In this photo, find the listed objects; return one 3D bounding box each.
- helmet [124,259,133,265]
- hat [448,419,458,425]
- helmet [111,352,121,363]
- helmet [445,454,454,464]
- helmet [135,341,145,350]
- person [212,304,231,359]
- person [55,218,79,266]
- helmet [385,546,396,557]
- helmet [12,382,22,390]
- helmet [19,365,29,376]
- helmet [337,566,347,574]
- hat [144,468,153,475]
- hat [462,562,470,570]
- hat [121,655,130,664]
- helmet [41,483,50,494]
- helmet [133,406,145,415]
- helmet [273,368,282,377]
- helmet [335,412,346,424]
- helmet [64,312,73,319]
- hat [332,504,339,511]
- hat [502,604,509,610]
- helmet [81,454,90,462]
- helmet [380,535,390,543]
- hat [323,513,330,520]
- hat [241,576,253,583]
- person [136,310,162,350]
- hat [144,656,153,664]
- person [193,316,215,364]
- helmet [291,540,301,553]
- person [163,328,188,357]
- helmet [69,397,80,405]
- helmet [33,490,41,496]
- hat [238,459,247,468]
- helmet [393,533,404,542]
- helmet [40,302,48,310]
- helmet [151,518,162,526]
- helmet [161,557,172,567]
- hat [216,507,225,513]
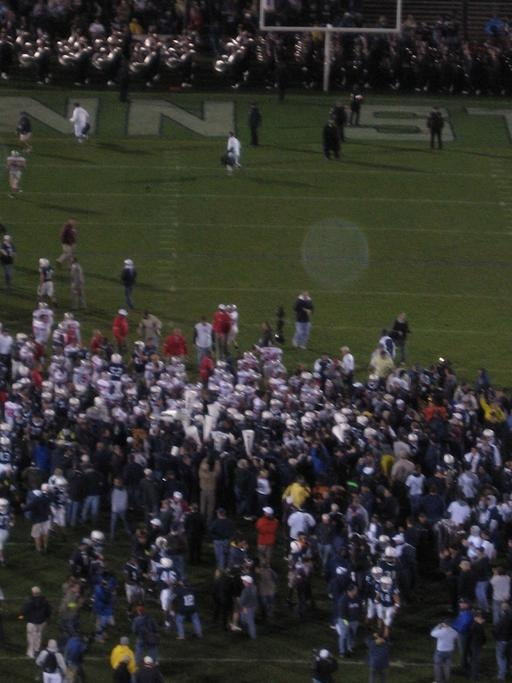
[{"bbox_3d":[-2.580,-1.603,35.481,0.147,0.090,0.177,2,2,-4],"label":"helmet"},{"bbox_3d":[3.386,1.346,28.998,0.107,0.094,0.106,-5,10,-26],"label":"hat"},{"bbox_3d":[-2.480,0.329,31.233,0.184,0.184,0.163,-21,22,-36],"label":"helmet"},{"bbox_3d":[3.147,1.874,27.620,0.120,0.095,0.137,-1,3,-3],"label":"helmet"},{"bbox_3d":[-2.103,0.090,32.254,0.132,0.150,0.197,11,4,-24],"label":"helmet"},{"bbox_3d":[-0.635,-0.172,34.240,0.384,1.058,0.721,1,-1,-2],"label":"person"},{"bbox_3d":[-4.172,-2.129,38.364,0.450,1.203,0.546,12,47,-1],"label":"person"},{"bbox_3d":[2.008,3.067,25.228,0.161,0.154,0.209,0,-1,10],"label":"helmet"},{"bbox_3d":[-4.066,0.773,29.679,0.158,0.080,0.154,-11,13,-36],"label":"helmet"},{"bbox_3d":[-4.096,0.523,30.658,0.145,0.195,0.197,1,2,-6],"label":"helmet"},{"bbox_3d":[1.276,3.281,24.876,0.089,0.096,0.110,5,-14,-18],"label":"helmet"},{"bbox_3d":[-1.658,2.033,27.082,0.095,0.072,0.102,-2,-7,-20],"label":"hat"},{"bbox_3d":[3.098,3.259,25.115,0.146,0.150,0.162,0,-1,8],"label":"hat"},{"bbox_3d":[-1.714,4.227,23.051,0.102,0.077,0.138,8,33,-4],"label":"hat"},{"bbox_3d":[-3.249,2.266,26.673,0.108,0.138,0.143,5,17,9],"label":"helmet"},{"bbox_3d":[-1.912,1.143,28.607,0.142,0.136,0.138,4,-5,-44],"label":"helmet"},{"bbox_3d":[0.456,0.594,32.179,0.133,0.123,0.127,1,-12,1],"label":"helmet"},{"bbox_3d":[1.451,1.281,28.695,0.172,0.096,0.145,32,6,27],"label":"helmet"},{"bbox_3d":[-3.631,-0.490,33.638,0.101,0.126,0.114,-3,16,-4],"label":"helmet"},{"bbox_3d":[1.259,2.499,26.233,0.089,0.114,0.114,-12,36,-21],"label":"hat"},{"bbox_3d":[3.556,3.703,24.172,0.103,0.092,0.106,0,-1,8],"label":"hat"},{"bbox_3d":[-2.660,1.830,27.208,0.093,0.119,0.120,-12,51,-39],"label":"helmet"},{"bbox_3d":[1.941,2.898,25.393,0.100,0.117,0.128,1,-41,11],"label":"helmet"},{"bbox_3d":[1.101,2.645,25.980,0.104,0.116,0.198,1,-1,0],"label":"hat"},{"bbox_3d":[-0.097,3.429,24.934,0.131,0.139,0.313,1,-1,-9],"label":"hat"},{"bbox_3d":[-2.028,-0.184,33.258,0.417,0.707,0.889,1,-1,-4],"label":"person"},{"bbox_3d":[-1.406,4.213,22.898,0.104,0.092,0.124,4,5,8],"label":"hat"},{"bbox_3d":[-0.970,0.034,33.596,0.457,1.133,0.250,-4,25,-7],"label":"person"},{"bbox_3d":[0.631,3.025,25.528,0.150,0.269,0.299,1,-1,-7],"label":"helmet"},{"bbox_3d":[-1.518,0.054,33.056,0.419,0.529,0.811,1,-1,0],"label":"person"},{"bbox_3d":[-3.039,1.014,29.167,0.120,0.114,0.124,2,1,39],"label":"helmet"},{"bbox_3d":[-3.361,2.336,26.649,0.113,0.087,0.349,1,-1,-7],"label":"helmet"},{"bbox_3d":[-0.158,1.948,27.447,0.187,0.148,0.153,1,-1,-20],"label":"hat"},{"bbox_3d":[2.159,2.909,25.593,0.159,0.138,0.237,1,-1,4],"label":"helmet"},{"bbox_3d":[-4.095,-0.664,33.423,0.135,0.144,0.137,2,20,5],"label":"helmet"},{"bbox_3d":[-1.459,2.719,25.839,0.100,0.130,0.108,-19,21,30],"label":"helmet"},{"bbox_3d":[-1.272,3.192,25.065,0.181,0.122,0.317,1,-1,-6],"label":"helmet"},{"bbox_3d":[-0.500,2.566,26.289,0.108,0.113,0.135,6,-9,-1],"label":"hat"}]
